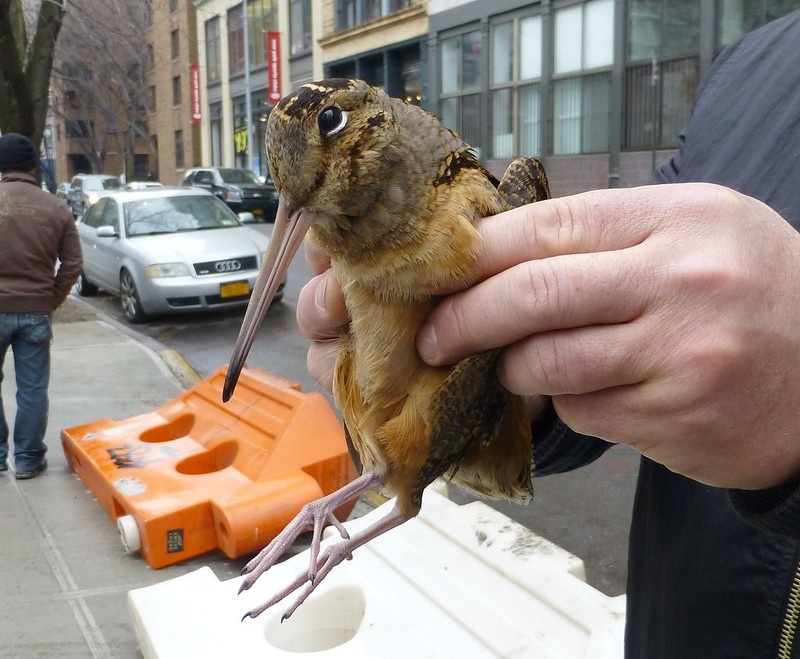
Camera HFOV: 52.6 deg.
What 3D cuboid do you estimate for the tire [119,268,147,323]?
[{"bbox_3d":[-3.344,-0.423,10.186,0.214,0.663,0.707,-8,16,-31],"label":"tire"}]

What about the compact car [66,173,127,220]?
[{"bbox_3d":[-11.329,-4.845,28.993,1.091,1.154,1.805,34,28,31],"label":"compact car"}]

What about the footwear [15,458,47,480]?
[{"bbox_3d":[-2.416,0.917,5.350,0.073,0.106,0.236,4,16,21],"label":"footwear"}]

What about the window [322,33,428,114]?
[{"bbox_3d":[-0.652,-6.875,23.046,3.612,2.192,0.277,3,14,39],"label":"window"}]

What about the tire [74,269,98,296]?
[{"bbox_3d":[-4.302,-0.655,11.089,0.178,0.520,0.478,-1,1,-31],"label":"tire"}]
